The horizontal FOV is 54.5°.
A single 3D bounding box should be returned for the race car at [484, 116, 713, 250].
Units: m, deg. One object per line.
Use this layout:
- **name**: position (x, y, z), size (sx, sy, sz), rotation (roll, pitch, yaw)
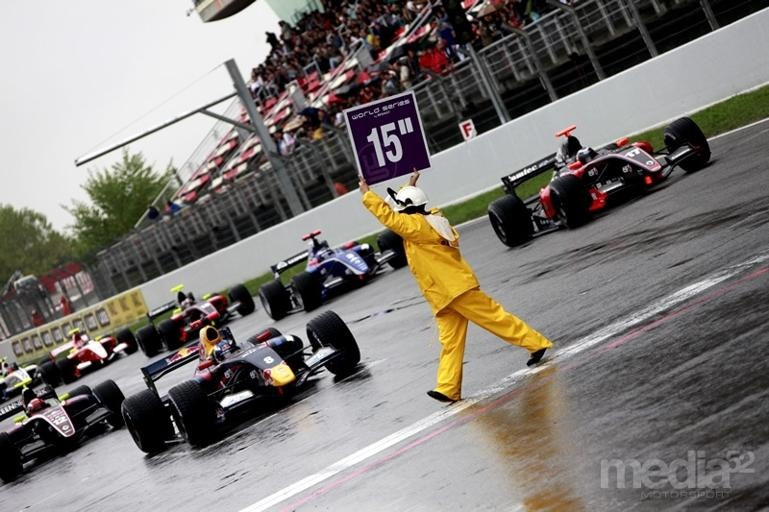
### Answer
- **race car**: position (4.338, -1.915, 15.925), size (3.362, 2.048, 5.041), rotation (-22, 0, -14)
